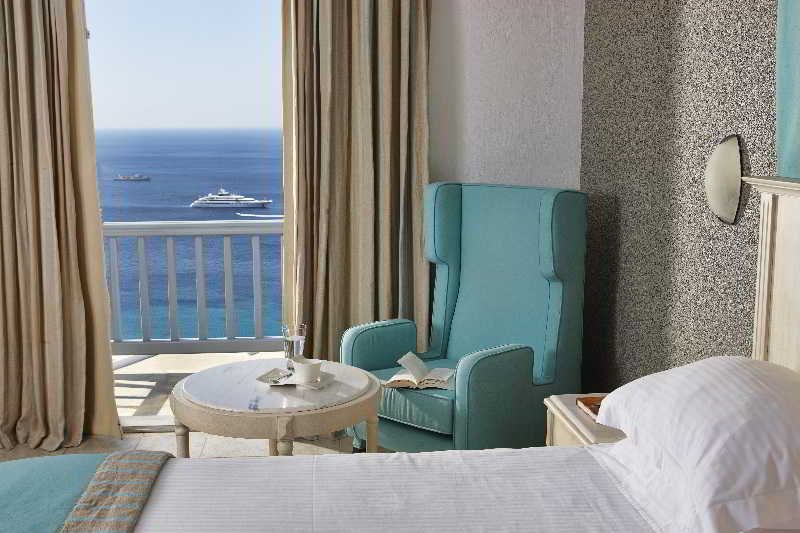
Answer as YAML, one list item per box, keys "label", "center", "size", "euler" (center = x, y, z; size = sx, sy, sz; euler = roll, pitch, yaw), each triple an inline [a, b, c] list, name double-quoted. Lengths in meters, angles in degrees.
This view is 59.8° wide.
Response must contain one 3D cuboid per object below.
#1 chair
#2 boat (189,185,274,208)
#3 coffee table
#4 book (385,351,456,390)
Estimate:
- label: "chair"
  center: [0.315, 0.280, 3.467]
  size: [0.961, 1.291, 1.044]
  euler: [-5, 8, -25]
- label: "boat"
  center: [-4.797, -1.874, 19.630]
  size: [2.816, 0.791, 0.697]
  euler: [-1, 17, 3]
- label: "coffee table"
  center: [-0.516, 0.418, 2.670]
  size: [0.533, 0.256, 0.520]
  euler: [5, 10, 23]
- label: "book"
  center: [0.113, 0.488, 3.238]
  size: [0.308, 0.103, 0.227]
  euler: [3, 8, 17]
